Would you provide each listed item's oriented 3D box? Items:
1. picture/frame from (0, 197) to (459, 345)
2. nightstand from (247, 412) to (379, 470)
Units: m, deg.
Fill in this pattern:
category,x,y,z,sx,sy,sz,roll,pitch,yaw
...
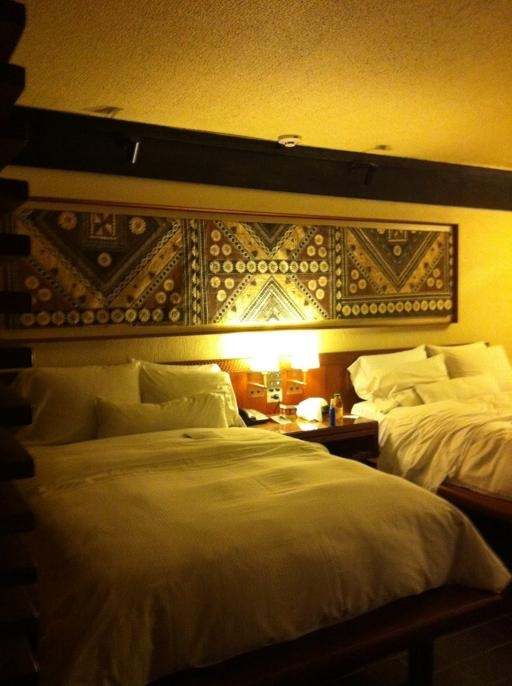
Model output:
category,x,y,z,sx,sy,sz,roll,pitch,yaw
picture/frame,-0.028,-0.530,3.949,3.360,0.891,0.312,-2,9,-25
nightstand,0.578,0.639,3.744,0.637,0.209,0.424,-4,9,-24
